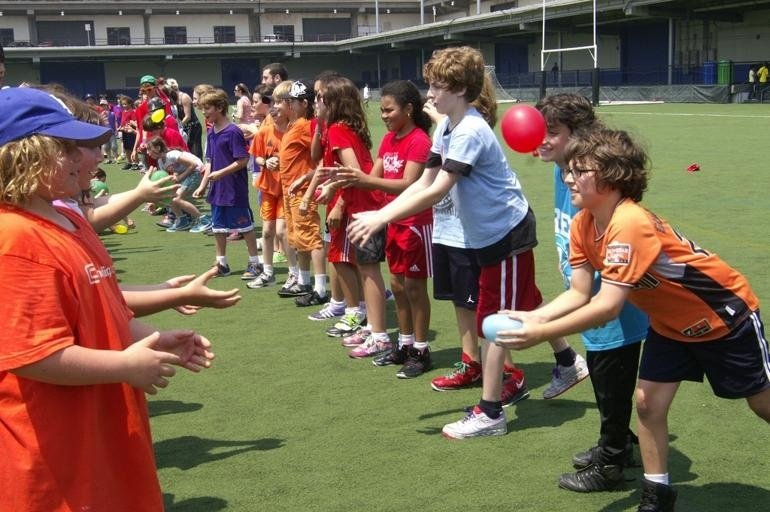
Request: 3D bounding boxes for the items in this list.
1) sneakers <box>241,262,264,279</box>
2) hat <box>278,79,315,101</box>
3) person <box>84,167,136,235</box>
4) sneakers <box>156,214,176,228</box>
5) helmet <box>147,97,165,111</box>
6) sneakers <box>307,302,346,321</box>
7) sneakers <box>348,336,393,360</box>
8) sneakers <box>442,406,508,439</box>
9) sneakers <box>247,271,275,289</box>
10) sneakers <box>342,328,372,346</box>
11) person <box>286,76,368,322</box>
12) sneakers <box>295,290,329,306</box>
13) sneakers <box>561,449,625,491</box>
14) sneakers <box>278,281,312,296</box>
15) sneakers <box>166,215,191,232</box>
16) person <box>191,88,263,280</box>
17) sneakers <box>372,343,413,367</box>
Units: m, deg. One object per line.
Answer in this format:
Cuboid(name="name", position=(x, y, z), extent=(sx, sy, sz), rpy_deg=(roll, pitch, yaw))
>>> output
Cuboid(name="sneakers", position=(-1.559, 0.195, 8.262), extent=(0.129, 0.146, 0.339), rpy_deg=(-1, -3, 14))
Cuboid(name="hat", position=(-0.932, -1.670, 7.101), extent=(0.370, 0.126, 0.251), rpy_deg=(13, 18, 37))
Cuboid(name="person", position=(-4.091, -0.809, 10.288), extent=(0.449, 0.907, 0.716), rpy_deg=(-3, 11, 37))
Cuboid(name="sneakers", position=(-3.708, -0.579, 11.791), extent=(0.514, 0.210, 0.180), rpy_deg=(2, 6, 37))
Cuboid(name="helmet", position=(-3.645, -2.399, 11.123), extent=(0.318, 0.149, 0.363), rpy_deg=(-17, 17, -22))
Cuboid(name="sneakers", position=(-0.563, 0.538, 6.785), extent=(0.404, 0.160, 0.152), rpy_deg=(-3, 2, 2))
Cuboid(name="sneakers", position=(-0.111, 0.746, 5.818), extent=(0.427, 0.174, 0.148), rpy_deg=(-6, 5, -13))
Cuboid(name="sneakers", position=(0.588, 1.083, 4.569), extent=(0.458, 0.188, 0.167), rpy_deg=(0, 5, -4))
Cuboid(name="sneakers", position=(-1.391, 0.281, 7.992), extent=(0.129, 0.137, 0.371), rpy_deg=(6, 7, 35))
Cuboid(name="sneakers", position=(-0.234, 0.710, 6.071), extent=(0.322, 0.126, 0.111), rpy_deg=(-3, 3, -11))
Cuboid(name="person", position=(-0.413, -0.419, 6.216), extent=(0.984, 2.190, 0.941), rpy_deg=(0, 12, -4))
Cuboid(name="sneakers", position=(-0.778, 0.446, 7.287), extent=(0.389, 0.155, 0.132), rpy_deg=(-1, 8, -9))
Cuboid(name="sneakers", position=(1.175, 1.213, 4.058), extent=(0.433, 0.249, 0.174), rpy_deg=(3, 8, 3))
Cuboid(name="sneakers", position=(-0.962, 0.361, 7.542), extent=(0.378, 0.159, 0.133), rpy_deg=(0, 2, 2))
Cuboid(name="sneakers", position=(-3.291, -0.515, 11.363), extent=(0.193, 0.206, 0.528), rpy_deg=(8, 10, 44))
Cuboid(name="person", position=(-1.887, -0.866, 8.202), extent=(0.800, 2.112, 0.817), rpy_deg=(-1, 2, 34))
Cuboid(name="sneakers", position=(0.070, 0.805, 5.615), extent=(0.384, 0.152, 0.133), rpy_deg=(0, 2, -4))
